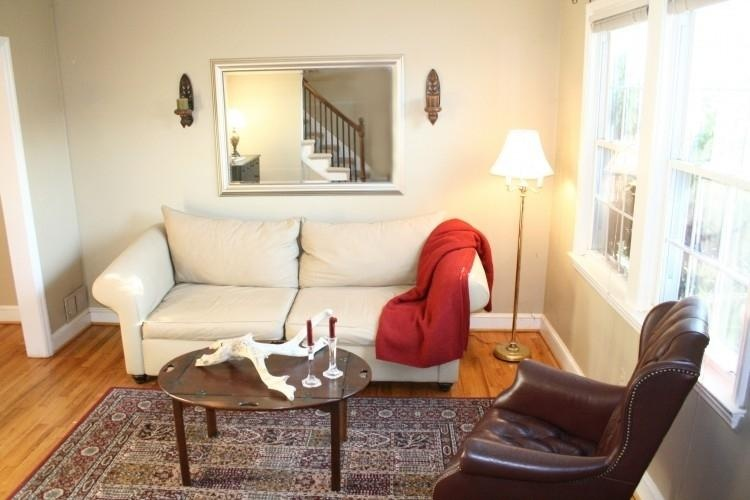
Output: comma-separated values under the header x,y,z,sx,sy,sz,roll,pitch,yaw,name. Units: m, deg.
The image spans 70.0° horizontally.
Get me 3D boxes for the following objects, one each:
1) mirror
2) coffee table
x,y,z,sx,sy,sz,roll,pitch,yaw,name
-0.551,-1.173,4.734,1.332,0.899,0.047,0,18,5,mirror
-0.706,1.107,3.553,1.331,0.691,0.993,1,13,-5,coffee table
